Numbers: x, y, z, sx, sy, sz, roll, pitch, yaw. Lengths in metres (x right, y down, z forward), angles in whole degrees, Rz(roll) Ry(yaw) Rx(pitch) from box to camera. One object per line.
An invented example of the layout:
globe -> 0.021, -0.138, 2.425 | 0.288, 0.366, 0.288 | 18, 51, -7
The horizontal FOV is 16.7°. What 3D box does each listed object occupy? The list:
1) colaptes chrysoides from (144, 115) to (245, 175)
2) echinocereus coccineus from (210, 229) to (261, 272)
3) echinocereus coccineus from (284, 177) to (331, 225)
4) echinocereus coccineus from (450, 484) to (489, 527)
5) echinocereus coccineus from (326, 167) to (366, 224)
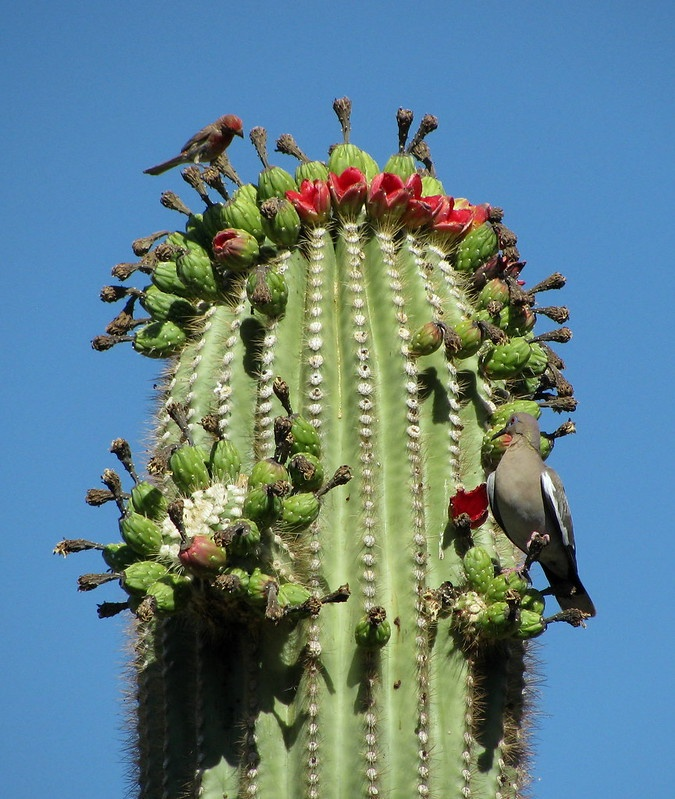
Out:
colaptes chrysoides -> -0.758, -1.350, 12.200 | 0.545, 0.295, 0.180 | 0, -14, 25
echinocereus coccineus -> -0.532, -0.780, 12.017 | 0.176, 0.195, 0.235 | 25, 4, 10
echinocereus coccineus -> -0.136, -1.048, 12.174 | 0.228, 0.222, 0.274 | -4, -77, 40
echinocereus coccineus -> 0.647, 0.535, 11.453 | 0.173, 0.201, 0.121 | -21, -36, -1
echinocereus coccineus -> 0.035, -1.100, 12.243 | 0.231, 0.244, 0.297 | 4, -63, 12
